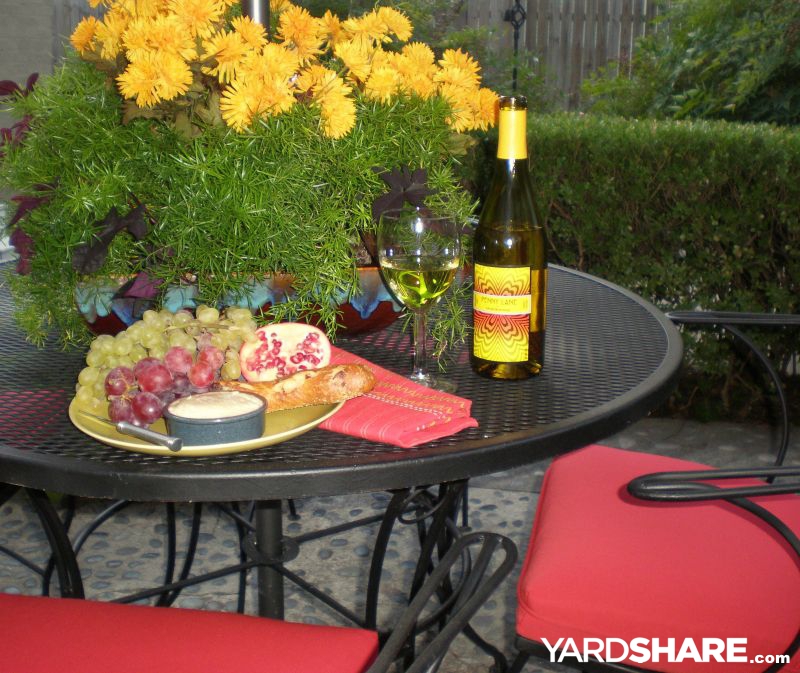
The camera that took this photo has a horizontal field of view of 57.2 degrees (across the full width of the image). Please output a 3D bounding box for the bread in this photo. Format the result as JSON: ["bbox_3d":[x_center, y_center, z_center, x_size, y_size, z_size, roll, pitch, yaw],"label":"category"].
[{"bbox_3d":[-0.109,0.065,0.927,0.196,0.040,0.059,-9,57,-5],"label":"bread"}]

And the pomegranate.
[{"bbox_3d":[-0.172,0.012,1.036,0.075,0.077,0.125,12,18,42],"label":"pomegranate"}]

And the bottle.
[{"bbox_3d":[0.158,-0.143,1.070,0.136,0.382,0.130,0,14,0],"label":"bottle"}]

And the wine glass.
[{"bbox_3d":[0.028,-0.054,1.111,0.112,0.270,0.110,-10,18,-25],"label":"wine glass"}]
